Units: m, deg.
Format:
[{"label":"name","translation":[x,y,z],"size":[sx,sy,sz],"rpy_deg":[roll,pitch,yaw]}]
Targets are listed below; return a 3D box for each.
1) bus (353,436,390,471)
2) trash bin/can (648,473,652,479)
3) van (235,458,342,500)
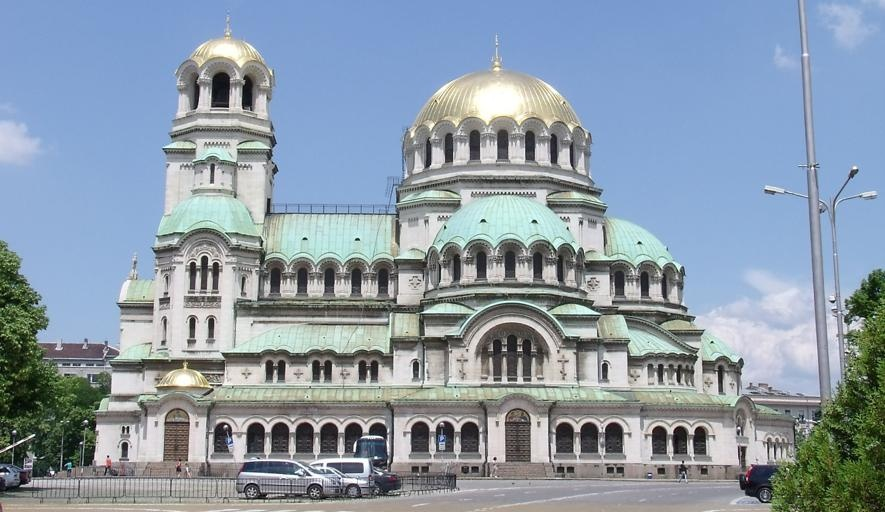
[{"label":"bus","translation":[-7.056,20.493,166.344],"size":[1.986,2.254,5.074],"rpy_deg":[0,-29,0]},{"label":"trash bin/can","translation":[22.111,23.163,169.589],"size":[0.610,0.651,0.436],"rpy_deg":[3,-20,-15]},{"label":"van","translation":[-14.283,20.636,148.595],"size":[8.544,2.731,3.931],"rpy_deg":[-2,-9,3]}]
